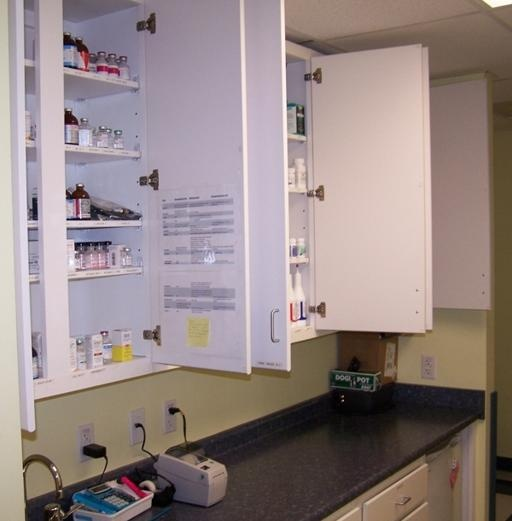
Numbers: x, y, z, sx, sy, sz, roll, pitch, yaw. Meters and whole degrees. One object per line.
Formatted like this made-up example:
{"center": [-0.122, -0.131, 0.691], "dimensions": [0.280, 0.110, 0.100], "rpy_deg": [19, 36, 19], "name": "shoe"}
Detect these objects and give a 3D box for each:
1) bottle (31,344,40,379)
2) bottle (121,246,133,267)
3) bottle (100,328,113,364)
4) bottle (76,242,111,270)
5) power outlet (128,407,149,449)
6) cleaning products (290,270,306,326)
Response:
{"center": [-0.611, 0.281, 1.367], "dimensions": [0.016, 0.070, 0.072], "rpy_deg": [2, 8, -26], "name": "bottle"}
{"center": [-0.438, -0.012, 1.661], "dimensions": [0.027, 0.066, 0.060], "rpy_deg": [0, 0, 13], "name": "bottle"}
{"center": [-0.484, 0.274, 1.594], "dimensions": [0.040, 0.101, 0.134], "rpy_deg": [3, 7, -17], "name": "bottle"}
{"center": [-0.520, -0.015, 1.582], "dimensions": [0.048, 0.081, 0.155], "rpy_deg": [9, 7, 33], "name": "bottle"}
{"center": [-0.457, 0.644, 1.906], "dimensions": [0.056, 0.121, 0.015], "rpy_deg": [-9, -25, -1], "name": "power outlet"}
{"center": [0.209, 0.178, 2.348], "dimensions": [0.078, 0.298, 0.075], "rpy_deg": [15, -22, -43], "name": "cleaning products"}
